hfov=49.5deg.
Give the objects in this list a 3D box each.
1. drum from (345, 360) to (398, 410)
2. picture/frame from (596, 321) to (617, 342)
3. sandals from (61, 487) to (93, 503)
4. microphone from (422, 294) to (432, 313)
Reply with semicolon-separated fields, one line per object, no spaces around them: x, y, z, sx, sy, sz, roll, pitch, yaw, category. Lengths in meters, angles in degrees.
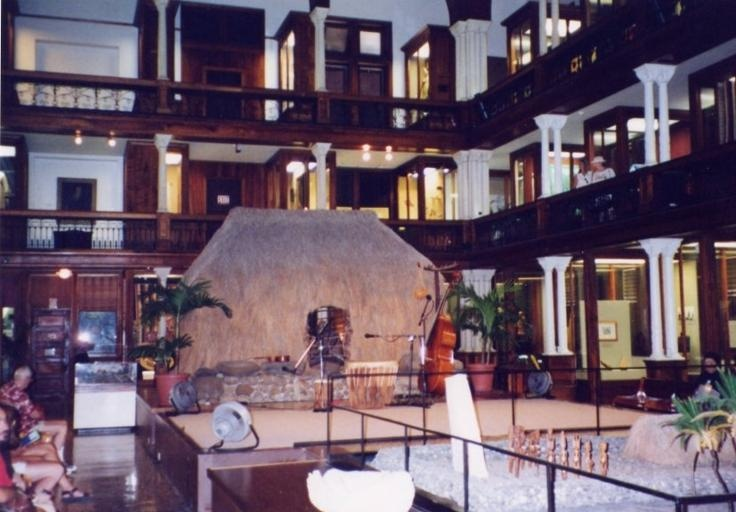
0.173;2.366;14.858;1.271;1.203;0.952;3;-8;-25;drum
5.068;1.637;17.102;0.398;0.455;0.043;0;-6;-2;picture/frame
-4.228;3.506;11.619;0.396;0.200;0.199;0;-1;-6;sandals
1.363;1.030;18.514;0.241;0.535;0.164;5;11;9;microphone
